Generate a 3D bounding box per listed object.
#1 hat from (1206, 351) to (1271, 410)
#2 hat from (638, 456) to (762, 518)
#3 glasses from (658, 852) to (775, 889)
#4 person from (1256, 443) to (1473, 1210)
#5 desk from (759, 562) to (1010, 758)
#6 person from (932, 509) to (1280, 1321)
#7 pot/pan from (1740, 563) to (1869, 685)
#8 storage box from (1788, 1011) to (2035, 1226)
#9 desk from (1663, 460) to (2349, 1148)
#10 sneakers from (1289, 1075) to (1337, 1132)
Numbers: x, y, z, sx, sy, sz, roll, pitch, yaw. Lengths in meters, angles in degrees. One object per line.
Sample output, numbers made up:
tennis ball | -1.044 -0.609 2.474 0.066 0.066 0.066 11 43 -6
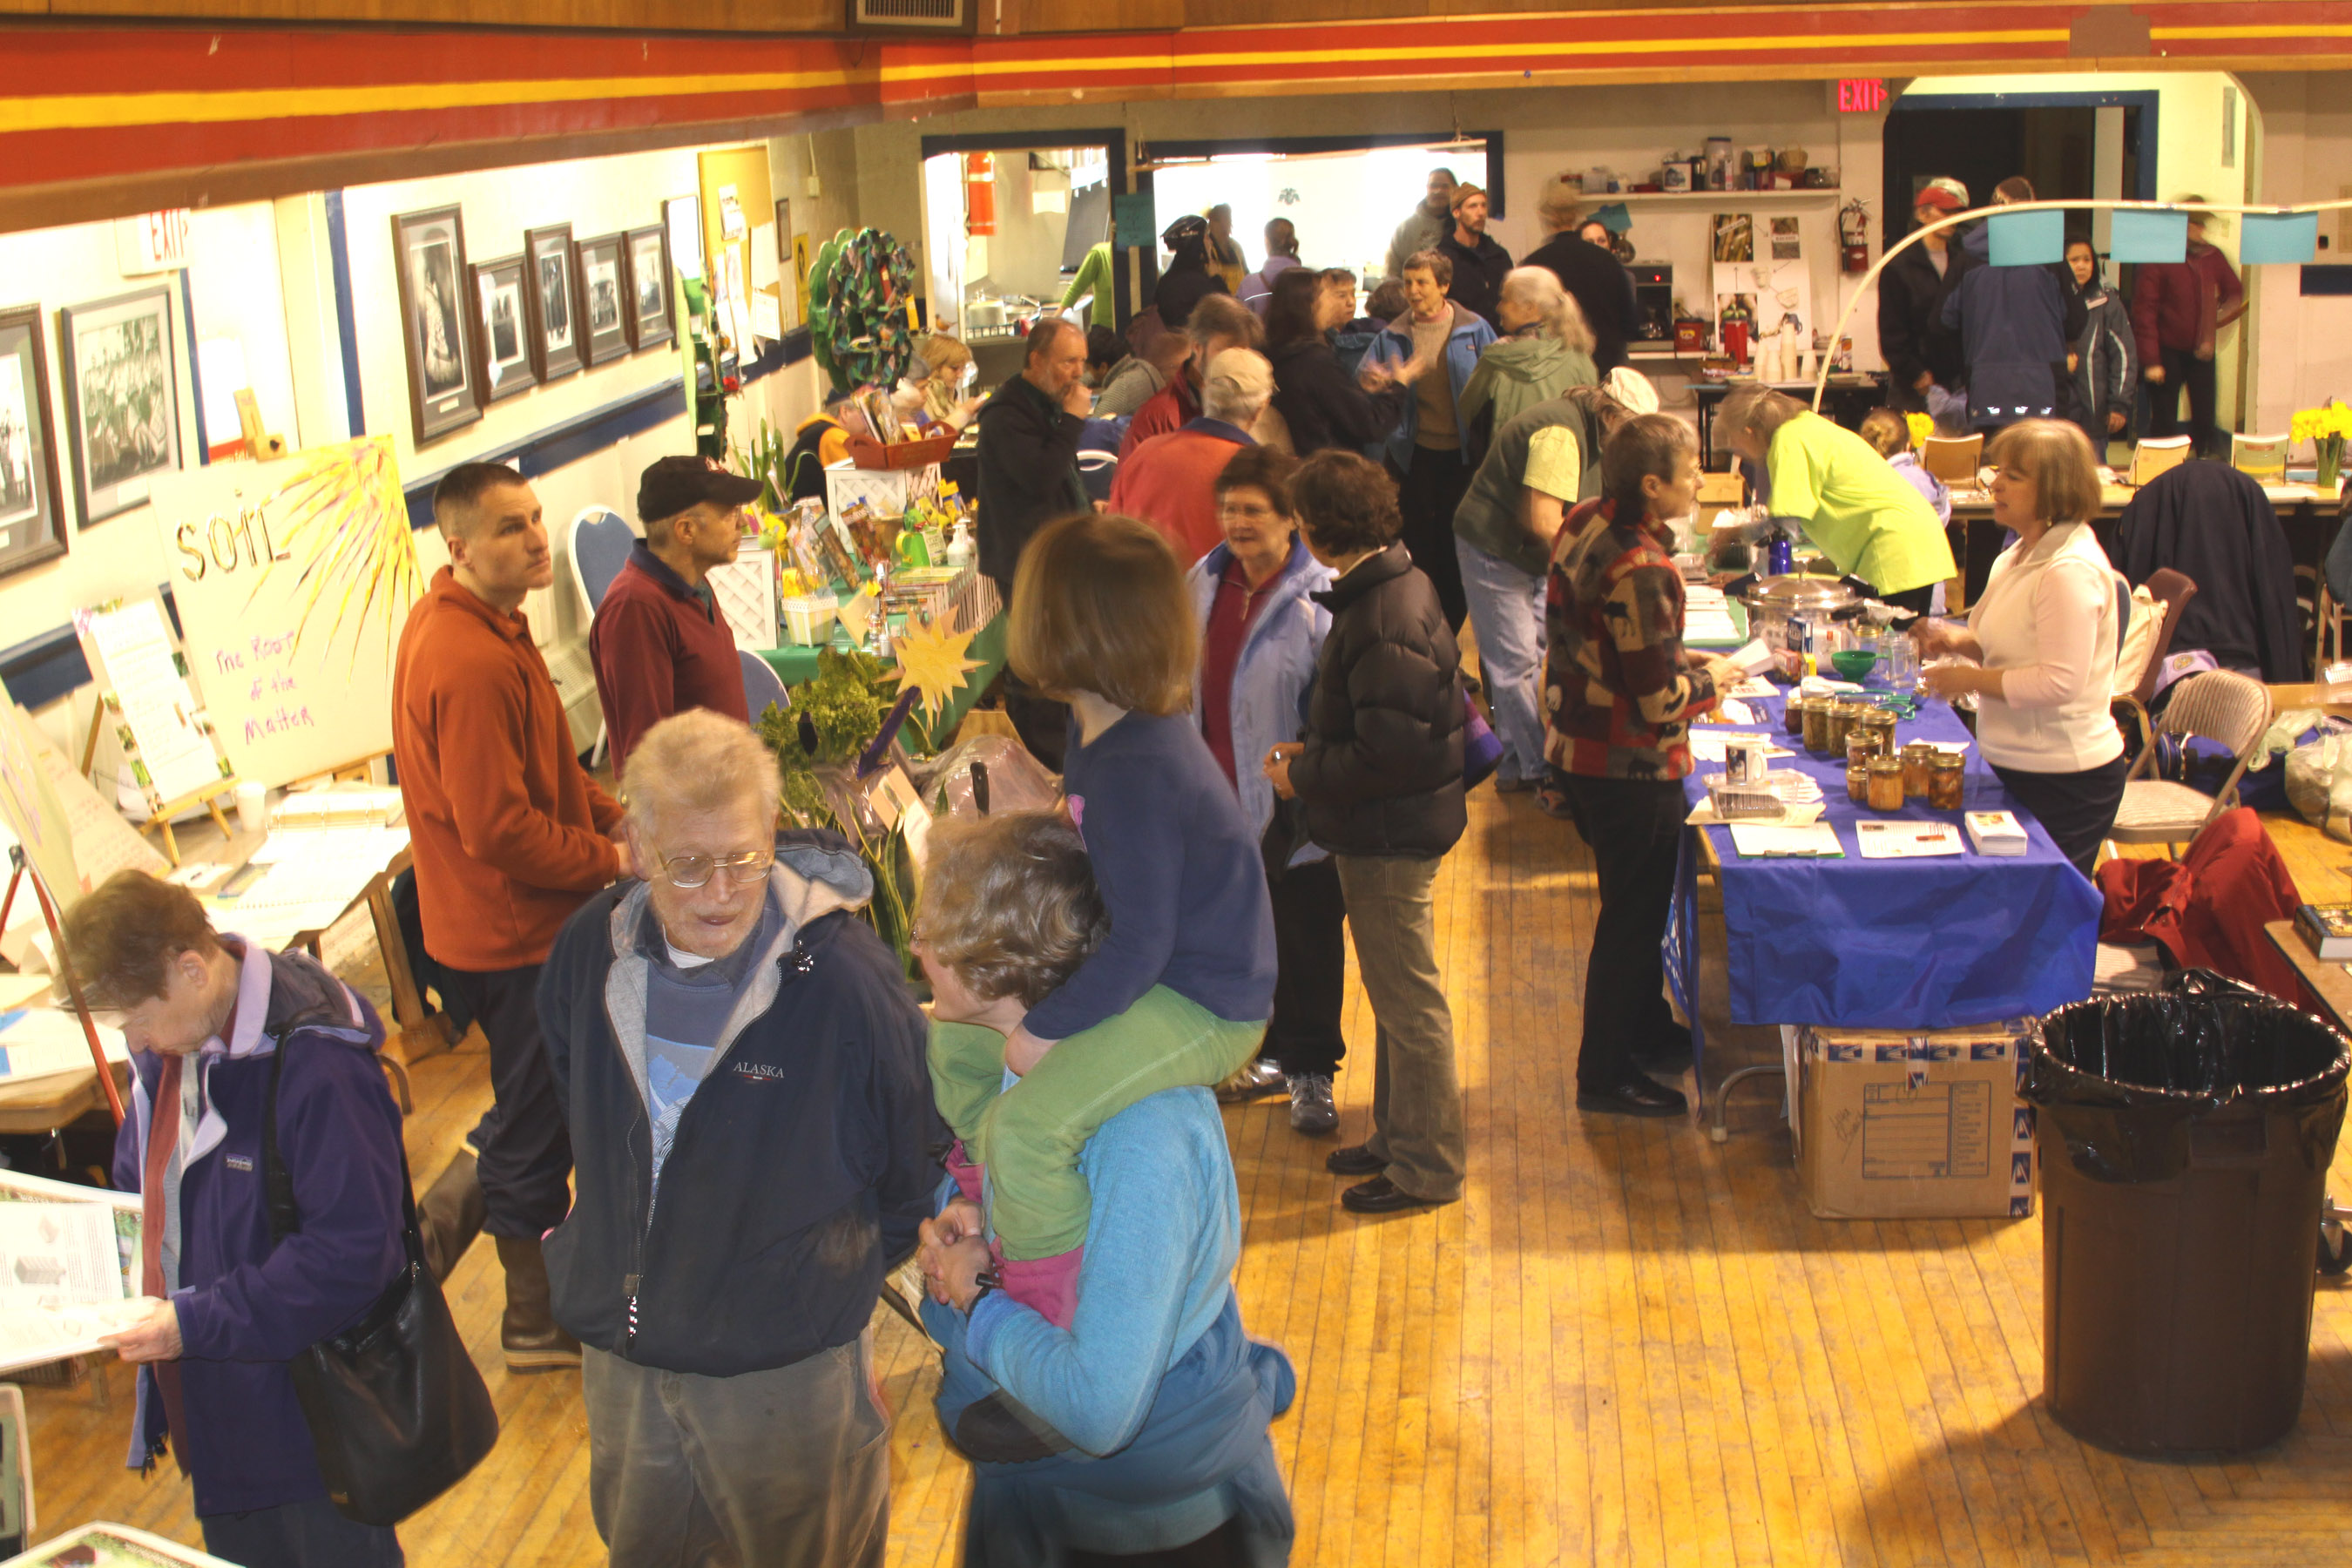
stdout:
hat | 0.236 -1.609 7.188 0.204 0.264 0.282 9 34 16
hat | -1.411 -0.876 5.418 0.296 0.150 0.191 -12 23 -19
glasses | -0.856 0.157 3.378 0.186 0.068 0.035 -7 13 -11
person | 0.636 0.202 5.505 0.595 2.403 0.439 -2 13 9
desk | -1.104 -0.502 6.735 0.446 0.235 0.947 1 24 3
person | -0.169 0.317 3.626 0.728 1.612 0.531 -5 11 -3
pot/pan | 2.542 -0.665 7.313 0.531 0.543 0.554 -3 20 2
storage box | 2.300 0.994 5.677 0.614 0.587 0.641 0 8 11
desk | 2.244 0.203 5.804 1.248 1.965 1.199 0 14 15
sneakers | 0.487 1.094 6.200 0.085 0.105 0.244 2 14 6
